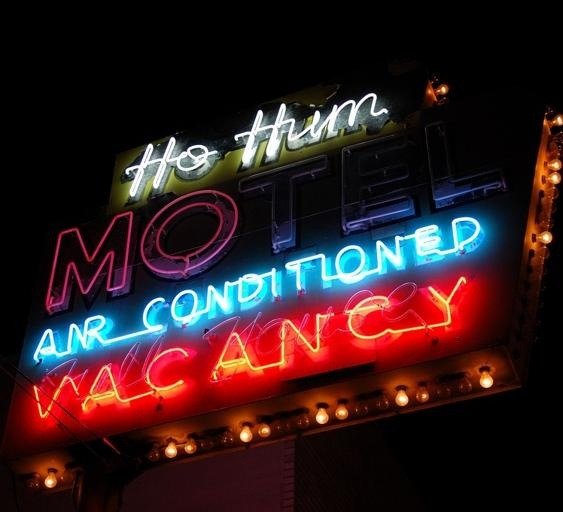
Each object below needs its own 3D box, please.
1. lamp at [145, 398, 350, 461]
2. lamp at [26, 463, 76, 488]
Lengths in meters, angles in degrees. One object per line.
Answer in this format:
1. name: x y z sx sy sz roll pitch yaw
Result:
1. lamp: -0.438 2.146 9.736 2.165 0.212 0.342 -15 -72 9
2. lamp: -3.099 2.955 10.339 0.556 0.405 0.139 -5 1 0
